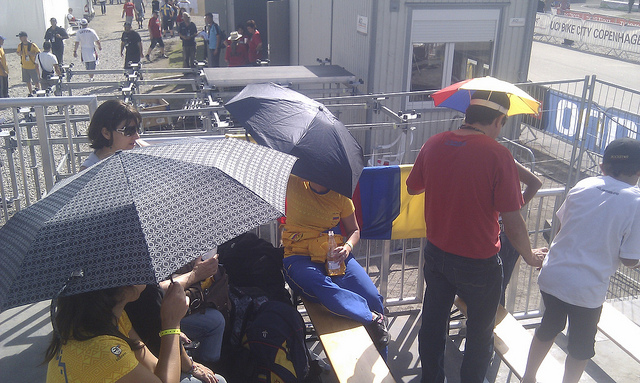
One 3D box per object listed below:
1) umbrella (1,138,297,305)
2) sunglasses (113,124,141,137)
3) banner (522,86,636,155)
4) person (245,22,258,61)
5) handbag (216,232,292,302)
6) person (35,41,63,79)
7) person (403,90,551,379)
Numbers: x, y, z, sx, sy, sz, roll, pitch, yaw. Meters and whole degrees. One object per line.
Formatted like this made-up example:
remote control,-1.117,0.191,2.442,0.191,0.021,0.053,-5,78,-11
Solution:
umbrella,-1.465,0.208,4.160,2.323,1.070,1.066,-3,16,-11
sunglasses,-2.122,-0.679,5.533,0.111,0.114,0.296,14,21,41
banner,5.633,-1.545,11.050,0.226,0.827,2.896,-8,32,-27
person,-2.307,-5.130,16.897,0.306,1.209,0.732,-5,16,-17
handbag,-0.794,0.872,5.990,0.740,0.340,0.979,-10,45,-33
person,-8.531,-4.097,15.564,0.566,1.124,1.256,-9,18,-29
person,1.633,0.535,5.505,1.270,3.231,0.672,3,16,10
